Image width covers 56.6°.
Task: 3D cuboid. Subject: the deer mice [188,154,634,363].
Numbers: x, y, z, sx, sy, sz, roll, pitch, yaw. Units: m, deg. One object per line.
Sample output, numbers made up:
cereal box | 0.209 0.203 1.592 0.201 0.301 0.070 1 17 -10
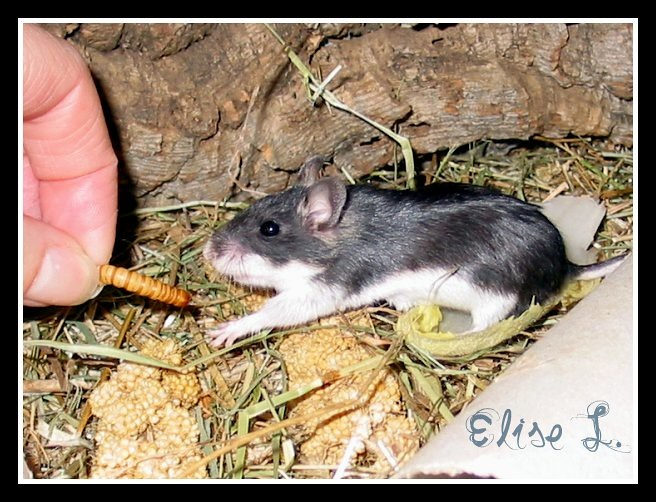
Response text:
deer mice | 0.703 -0.041 4.320 3.071 0.921 0.930 -2 24 -8

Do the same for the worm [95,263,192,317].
worm | -1.178 0.237 3.876 0.151 0.669 0.125 -56 43 14
